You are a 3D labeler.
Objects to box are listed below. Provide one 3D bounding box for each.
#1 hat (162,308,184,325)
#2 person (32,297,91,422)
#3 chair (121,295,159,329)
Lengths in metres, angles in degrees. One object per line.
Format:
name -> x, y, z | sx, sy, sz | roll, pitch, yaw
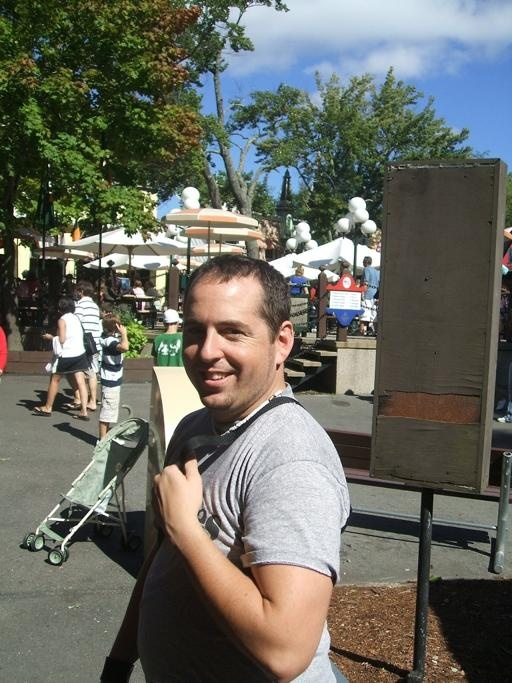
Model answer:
hat -> -1.061, -0.274, 8.595 | 0.274, 0.192, 0.342 | 0, 12, -1
person -> -2.725, 0.359, 9.652 | 0.680, 1.482, 0.451 | 1, 6, -12
chair -> -3.618, -0.931, 21.057 | 1.191, 1.030, 1.172 | -8, 16, -35
